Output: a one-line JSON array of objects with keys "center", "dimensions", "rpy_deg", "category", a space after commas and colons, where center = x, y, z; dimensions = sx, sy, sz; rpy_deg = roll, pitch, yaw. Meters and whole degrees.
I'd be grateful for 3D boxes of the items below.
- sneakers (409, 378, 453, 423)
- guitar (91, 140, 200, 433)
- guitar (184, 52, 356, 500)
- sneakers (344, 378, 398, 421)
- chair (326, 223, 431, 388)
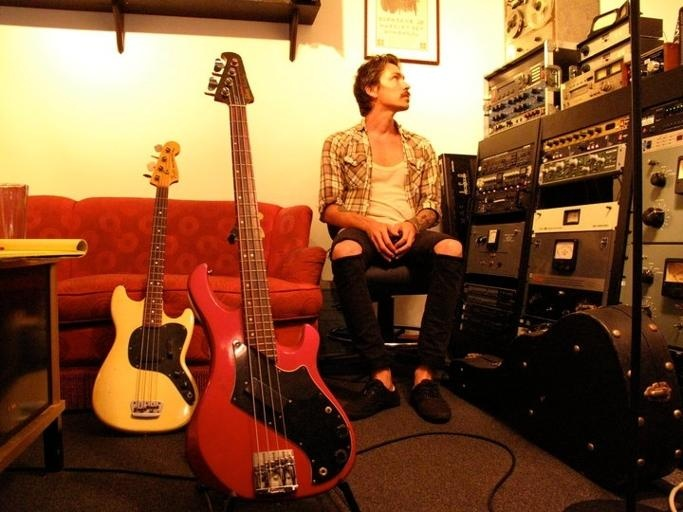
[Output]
[{"center": [0.371, 0.590, 2.172], "dimensions": [0.129, 0.124, 0.199], "rpy_deg": [-3, 12, -13], "category": "sneakers"}, {"center": [-0.796, 0.097, 2.124], "dimensions": [0.380, 1.054, 0.579], "rpy_deg": [-3, 12, -16], "category": "guitar"}, {"center": [-0.292, 0.086, 1.617], "dimensions": [0.447, 1.079, 0.687], "rpy_deg": [-6, 13, -26], "category": "guitar"}, {"center": [0.119, 0.591, 2.213], "dimensions": [0.261, 0.121, 0.106], "rpy_deg": [1, -4, -36], "category": "sneakers"}, {"center": [0.149, 0.268, 2.479], "dimensions": [0.577, 0.900, 0.610], "rpy_deg": [2, -16, -6], "category": "chair"}]
